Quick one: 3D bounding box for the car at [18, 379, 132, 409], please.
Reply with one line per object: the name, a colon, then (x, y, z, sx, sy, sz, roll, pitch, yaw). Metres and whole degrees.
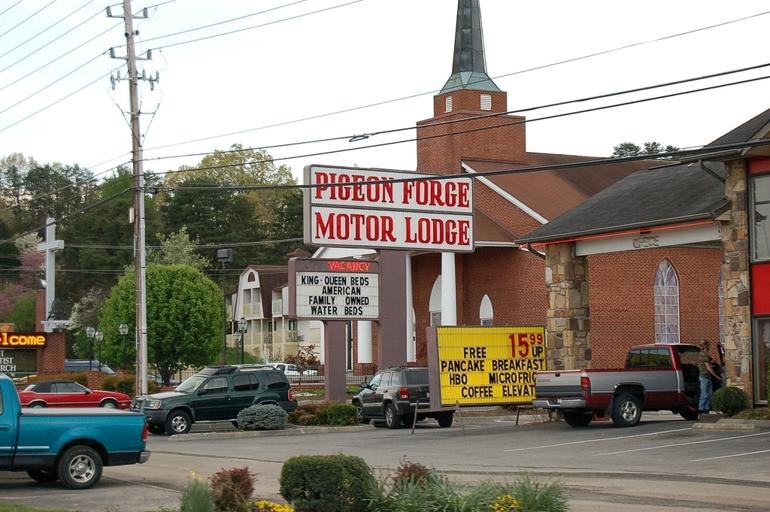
car: (-13.461, 6.283, 50.640, 5.666, 1.765, 2.255, 1, -5, -21)

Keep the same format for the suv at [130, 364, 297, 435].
suv: (-6.816, 5.378, 46.210, 6.409, 2.450, 2.896, 2, 5, -40)

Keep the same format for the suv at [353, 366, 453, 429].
suv: (0.700, 5.545, 46.694, 3.122, 2.013, 4.886, 1, -6, -22)

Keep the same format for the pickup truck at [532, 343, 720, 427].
pickup truck: (8.491, 4.449, 41.427, 6.352, 2.004, 2.847, 0, -3, -30)
